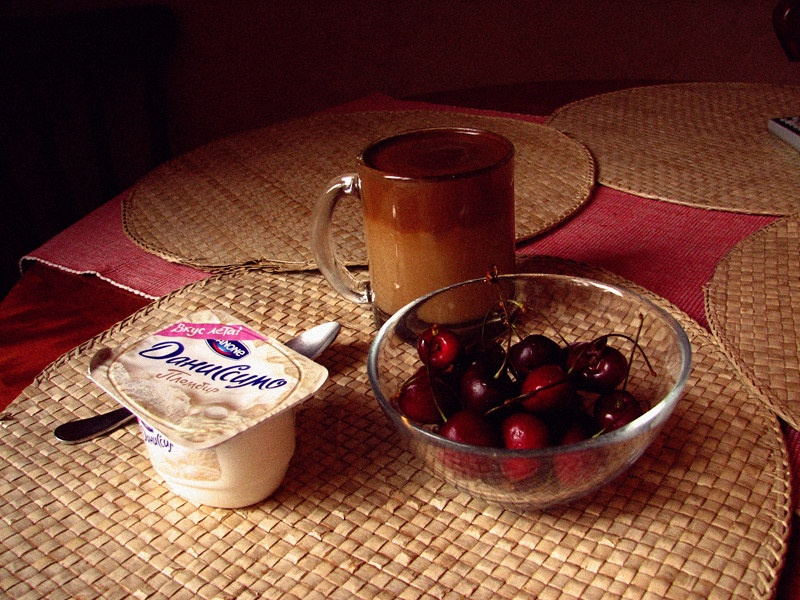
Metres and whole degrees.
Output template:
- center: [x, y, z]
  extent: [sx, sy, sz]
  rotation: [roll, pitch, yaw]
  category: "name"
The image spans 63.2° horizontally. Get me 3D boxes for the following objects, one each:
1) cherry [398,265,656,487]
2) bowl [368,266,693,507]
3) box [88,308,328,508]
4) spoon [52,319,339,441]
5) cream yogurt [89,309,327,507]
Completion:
- center: [0.092, 0.029, 0.489]
  extent: [0.223, 0.086, 0.178]
  rotation: [0, 23, 7]
  category: "cherry"
- center: [0.127, 0.079, 0.497]
  extent: [0.252, 0.069, 0.204]
  rotation: [-10, 25, -10]
  category: "bowl"
- center: [-0.133, 0.111, 0.570]
  extent: [0.219, 0.098, 0.149]
  rotation: [26, 43, 29]
  category: "box"
- center: [-0.161, 0.068, 0.520]
  extent: [0.292, 0.030, 0.040]
  rotation: [-15, 41, -28]
  category: "spoon"
- center: [-0.145, 0.097, 0.509]
  extent: [0.149, 0.086, 0.183]
  rotation: [-15, 22, -26]
  category: "cream yogurt"
